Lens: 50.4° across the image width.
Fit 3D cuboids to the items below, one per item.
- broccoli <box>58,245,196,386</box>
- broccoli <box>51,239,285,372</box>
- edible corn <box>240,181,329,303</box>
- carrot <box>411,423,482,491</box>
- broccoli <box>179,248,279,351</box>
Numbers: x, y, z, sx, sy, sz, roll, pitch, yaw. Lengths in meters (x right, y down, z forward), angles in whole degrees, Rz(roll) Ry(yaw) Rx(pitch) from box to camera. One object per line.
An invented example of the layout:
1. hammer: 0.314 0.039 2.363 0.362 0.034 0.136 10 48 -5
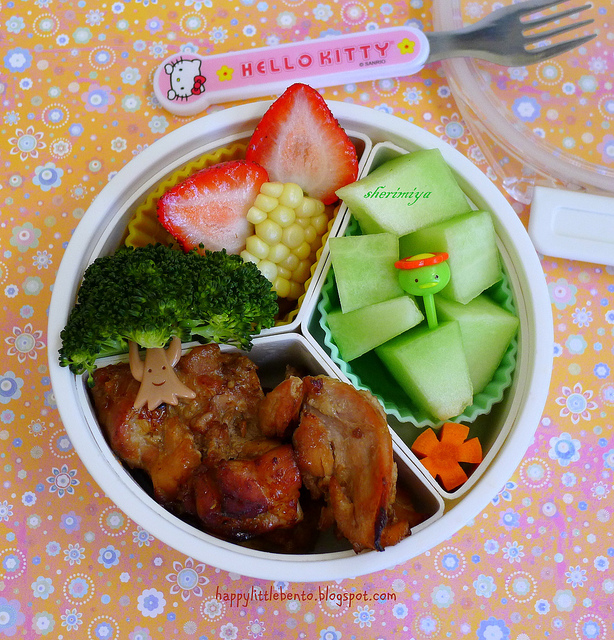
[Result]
1. broccoli: -0.354 -0.016 1.494 0.242 0.163 0.305 41 86 14
2. broccoli: -0.365 -0.011 1.502 0.295 0.466 0.182 -35 96 18
3. edible corn: -0.062 -0.189 1.636 0.265 0.081 0.273 -2 97 -41
4. carrot: 0.331 0.314 1.501 0.139 0.036 0.159 5 79 2
5. broccoli: -0.162 -0.051 1.540 0.211 0.236 0.218 -2 123 -3
